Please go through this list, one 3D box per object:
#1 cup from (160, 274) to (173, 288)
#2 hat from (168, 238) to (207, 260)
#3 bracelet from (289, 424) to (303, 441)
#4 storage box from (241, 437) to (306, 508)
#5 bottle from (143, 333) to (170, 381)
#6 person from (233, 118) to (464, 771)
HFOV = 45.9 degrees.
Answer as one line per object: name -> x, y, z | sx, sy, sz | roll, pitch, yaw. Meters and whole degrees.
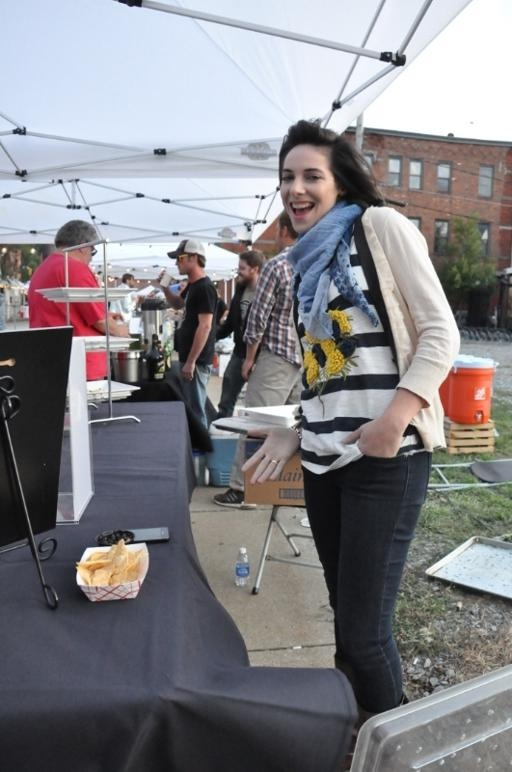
cup -> -0.890, -1.037, 5.969 | 0.158, 0.128, 0.227 | 0, 6, 4
hat -> -0.578, -1.118, 4.931 | 0.320, 0.186, 0.208 | 6, 14, 6
bracelet -> 0.108, 0.122, 1.581 | 0.023, 0.039, 0.038 | -5, 36, 7
storage box -> 0.078, 0.369, 2.432 | 0.269, 0.271, 0.169 | 1, -17, -1
bottle -> -0.695, -0.200, 4.165 | 0.160, 0.300, 0.567 | 0, 8, -10
person -> 0.239, 0.105, 1.345 | 0.266, 1.378, 0.469 | -2, 9, -23
